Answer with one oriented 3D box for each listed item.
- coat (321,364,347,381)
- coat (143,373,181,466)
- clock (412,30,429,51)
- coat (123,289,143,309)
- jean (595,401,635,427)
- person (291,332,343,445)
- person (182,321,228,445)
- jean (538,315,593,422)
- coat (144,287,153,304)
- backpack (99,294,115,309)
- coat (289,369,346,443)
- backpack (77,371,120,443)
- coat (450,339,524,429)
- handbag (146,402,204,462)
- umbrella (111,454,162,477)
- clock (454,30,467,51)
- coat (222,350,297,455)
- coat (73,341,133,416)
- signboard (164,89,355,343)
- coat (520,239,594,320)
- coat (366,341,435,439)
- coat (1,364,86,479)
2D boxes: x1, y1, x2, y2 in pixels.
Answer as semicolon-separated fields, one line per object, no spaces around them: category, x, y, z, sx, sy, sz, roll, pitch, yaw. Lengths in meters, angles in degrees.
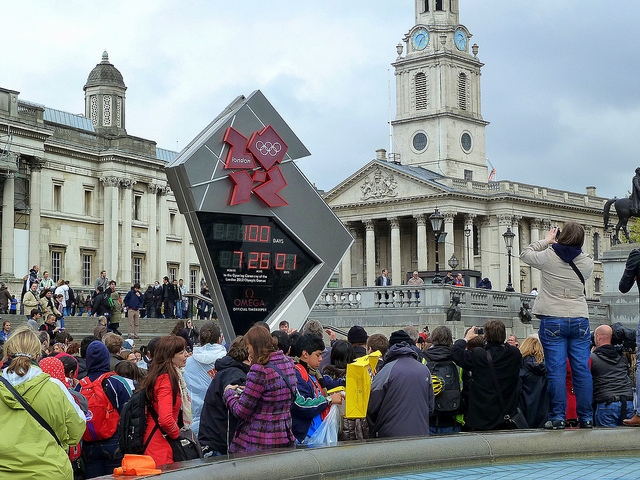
coat;0.193;1.731;15.685;0.402;0.250;0.131;6;-4;22
coat;-1.871;2.098;14.070;0.433;1.061;0.205;1;-9;-9
clock;7.741;-15.354;91.293;0.391;1.488;1.798;5;-9;-31
coat;-5.324;1.661;33.724;0.451;0.572;0.578;2;-8;-15
jean;3.997;2.378;16.413;0.372;0.330;0.224;-1;-8;10
person;-0.118;1.876;15.006;0.480;1.454;0.494;-1;0;-27
person;-1.661;1.938;16.177;0.498;1.549;0.556;-4;1;-35
jean;3.361;1.715;16.025;0.723;1.433;0.364;1;-9;-5
coat;-5.801;1.824;40.168;0.395;0.456;0.251;1;-9;-5
backpack;-5.806;1.638;32.365;0.284;0.396;0.423;5;-44;-39
coat;-0.136;2.074;14.879;0.552;0.889;0.337;5;-10;-32
backpack;-2.834;2.078;14.917;0.498;0.834;0.419;2;5;43
coat;2.154;1.970;16.518;1.254;1.141;1.104;7;-1;-25
handbag;-1.701;2.344;14.372;0.395;0.662;0.452;-17;-3;16
umbrella;-2.081;2.553;13.464;0.599;0.224;0.265;-1;-8;4
clock;10.755;-15.366;91.235;0.111;1.389;1.472;-4;27;35
coat;-0.643;2.001;14.533;0.896;1.180;1.066;1;3;30
coat;-2.754;1.766;15.122;0.681;0.934;0.360;-16;-24;-4
signboard;-1.180;-0.460;21.660;3.539;4.388;0.823;7;-11;-42
coat;3.366;0.487;16.394;0.971;1.186;0.779;7;-4;-17
coat;1.043;2.026;15.819;1.063;1.248;0.725;3;3;-33
coat;-3.079;1.995;13.134;0.914;1.259;0.264;2;-9;-10
